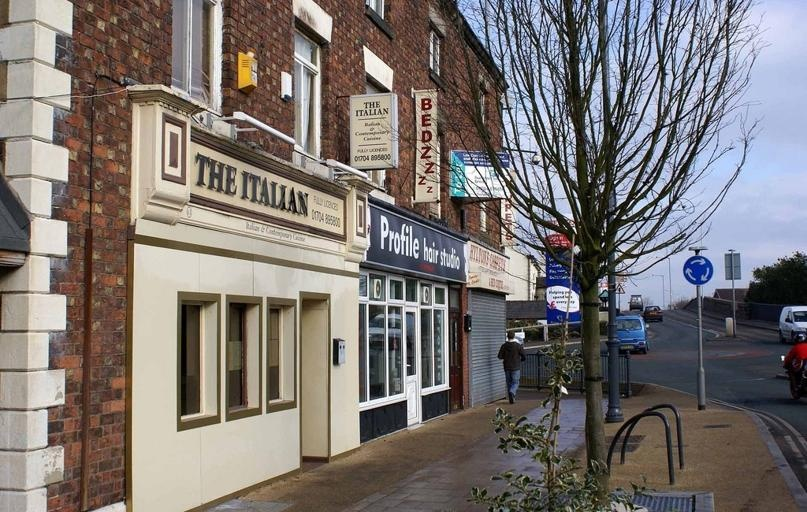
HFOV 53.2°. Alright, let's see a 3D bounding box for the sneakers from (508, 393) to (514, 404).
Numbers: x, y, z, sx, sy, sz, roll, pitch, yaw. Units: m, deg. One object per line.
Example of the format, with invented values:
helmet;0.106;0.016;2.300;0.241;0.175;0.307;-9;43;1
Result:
sneakers;2.984;3.932;22.458;0.112;0.365;0.139;0;35;17
